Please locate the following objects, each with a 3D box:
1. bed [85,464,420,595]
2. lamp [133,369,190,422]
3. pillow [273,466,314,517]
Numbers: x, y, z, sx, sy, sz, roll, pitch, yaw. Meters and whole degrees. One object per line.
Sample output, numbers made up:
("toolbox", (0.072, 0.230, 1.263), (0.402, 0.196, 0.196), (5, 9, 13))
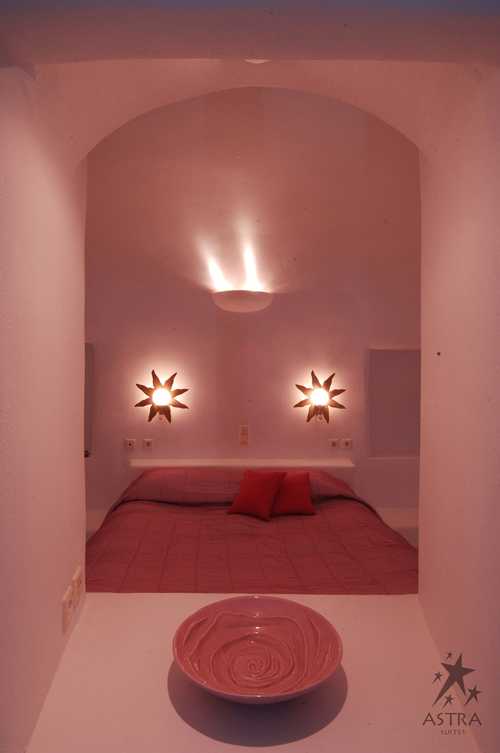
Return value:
("bed", (-0.002, 0.751, 2.625), (1.589, 0.230, 1.554), (0, 2, 4))
("lamp", (-0.609, 0.062, 3.703), (0.374, 0.155, 0.368), (16, -31, -37))
("pillow", (0.247, 0.644, 2.985), (0.178, 0.074, 0.255), (-3, 46, 11))
